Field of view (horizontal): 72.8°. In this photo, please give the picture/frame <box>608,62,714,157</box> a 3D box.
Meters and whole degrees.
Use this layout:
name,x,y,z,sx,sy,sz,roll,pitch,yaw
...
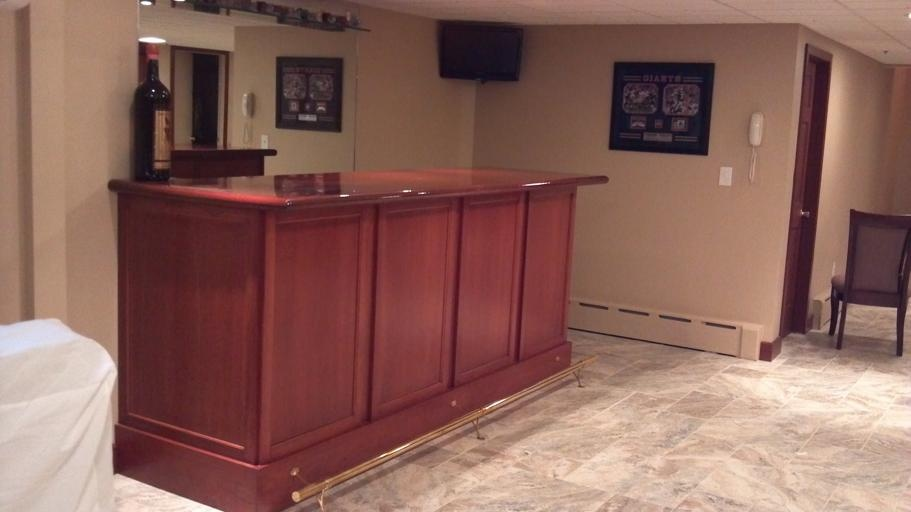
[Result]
name,x,y,z,sx,sy,sz,roll,pitch,yaw
picture/frame,2.215,-1.575,6.534,1.159,0.929,0.079,5,7,11

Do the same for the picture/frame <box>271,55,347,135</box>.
name,x,y,z,sx,sy,sz,roll,pitch,yaw
picture/frame,-1.386,-1.500,5.695,0.883,0.777,0.070,-8,14,-39

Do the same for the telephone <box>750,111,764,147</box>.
name,x,y,z,sx,sy,sz,roll,pitch,yaw
telephone,3.014,-1.276,6.187,0.180,0.294,0.096,8,8,22

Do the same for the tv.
name,x,y,z,sx,sy,sz,roll,pitch,yaw
tv,0.262,-2.281,6.848,0.903,0.594,0.162,-2,14,-10

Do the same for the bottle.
name,x,y,z,sx,sy,sz,roll,pitch,yaw
bottle,-1.936,-0.900,3.880,0.236,0.842,0.214,-1,14,-5
